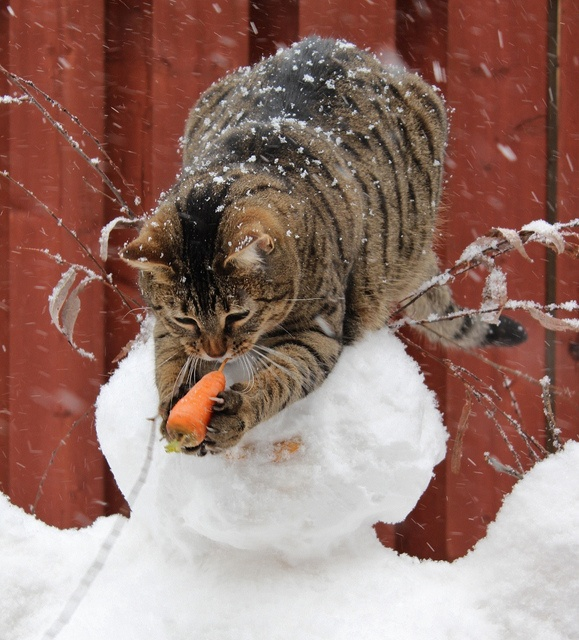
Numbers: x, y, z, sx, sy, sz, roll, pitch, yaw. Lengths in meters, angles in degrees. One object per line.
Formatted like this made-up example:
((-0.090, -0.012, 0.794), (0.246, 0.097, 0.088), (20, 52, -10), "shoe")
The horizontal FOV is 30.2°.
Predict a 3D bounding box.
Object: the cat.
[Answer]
((0.018, -0.241, 2.843), (0.818, 0.700, 1.284), (25, 81, 2), "cat")
